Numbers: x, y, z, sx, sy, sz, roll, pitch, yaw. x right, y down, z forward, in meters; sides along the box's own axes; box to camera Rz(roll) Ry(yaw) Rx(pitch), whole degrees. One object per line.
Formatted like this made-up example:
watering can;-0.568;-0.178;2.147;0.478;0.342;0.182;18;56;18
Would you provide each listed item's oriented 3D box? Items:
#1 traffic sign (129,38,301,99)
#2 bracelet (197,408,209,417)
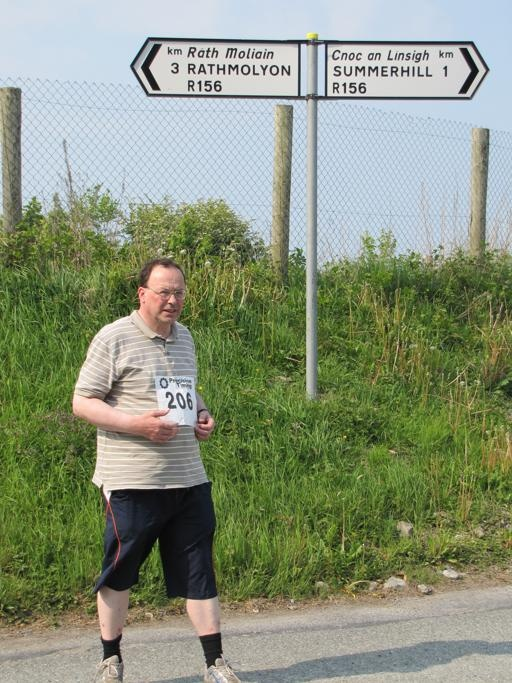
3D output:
traffic sign;-0.297;-2.084;8.328;1.300;0.437;0.176;0;0;-8
bracelet;-0.276;0.372;5.740;0.041;0.032;0.043;2;0;-23
